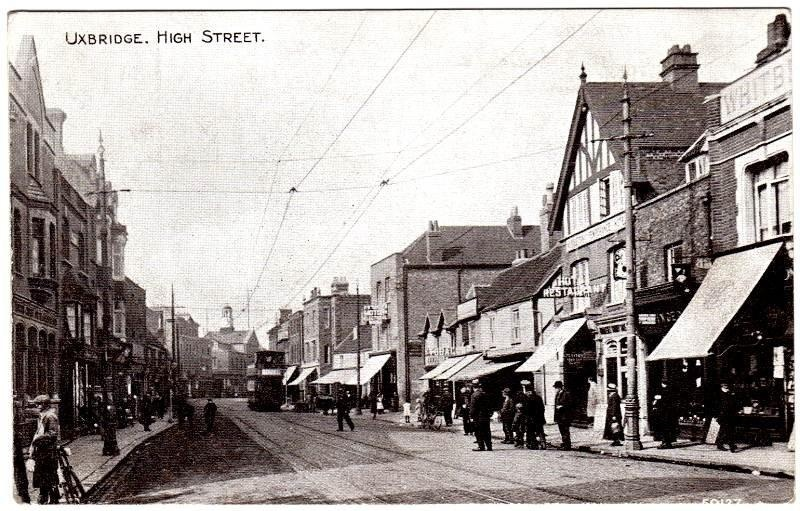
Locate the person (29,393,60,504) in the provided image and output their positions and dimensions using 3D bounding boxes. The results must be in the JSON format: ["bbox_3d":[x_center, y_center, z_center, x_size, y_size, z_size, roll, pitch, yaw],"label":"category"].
[{"bbox_3d":[-9.685,5.356,33.797,1.057,2.673,1.056,1,2,-1],"label":"person"}]

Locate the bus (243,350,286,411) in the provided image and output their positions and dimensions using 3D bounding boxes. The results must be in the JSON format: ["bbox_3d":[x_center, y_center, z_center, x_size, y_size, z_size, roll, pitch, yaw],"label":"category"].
[{"bbox_3d":[-9.082,8.761,82.979,2.025,4.276,5.313,1,-15,-9],"label":"bus"}]

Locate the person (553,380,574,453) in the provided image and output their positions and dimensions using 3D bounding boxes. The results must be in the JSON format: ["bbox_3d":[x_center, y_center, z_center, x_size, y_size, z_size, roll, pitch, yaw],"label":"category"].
[{"bbox_3d":[5.716,5.664,43.371,0.636,2.557,1.321,-3,-15,7],"label":"person"}]

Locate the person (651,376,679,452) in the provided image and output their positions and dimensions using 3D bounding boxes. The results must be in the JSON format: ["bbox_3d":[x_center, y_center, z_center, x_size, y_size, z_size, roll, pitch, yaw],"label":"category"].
[{"bbox_3d":[8.900,5.506,41.937,0.640,2.096,0.767,-1,1,30],"label":"person"}]
